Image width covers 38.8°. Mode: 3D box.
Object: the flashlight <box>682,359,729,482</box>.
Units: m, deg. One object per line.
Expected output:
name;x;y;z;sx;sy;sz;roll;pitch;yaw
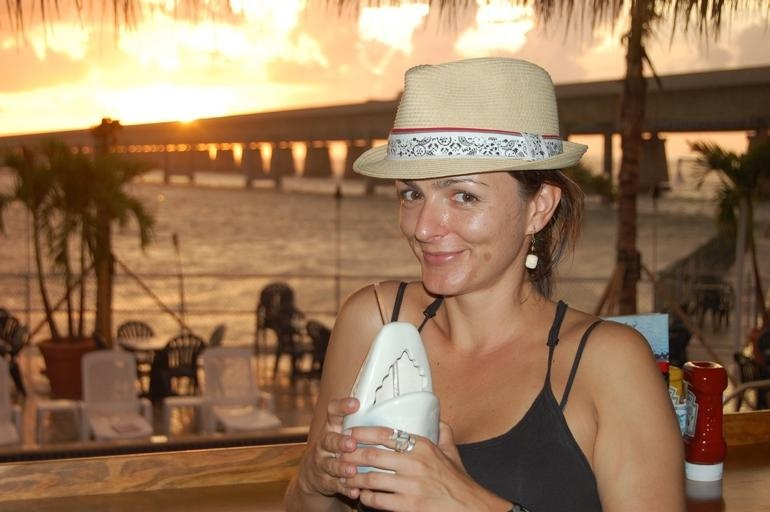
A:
flashlight;1.907;1.001;6.528;0.248;0.694;0.292;0;4;16
